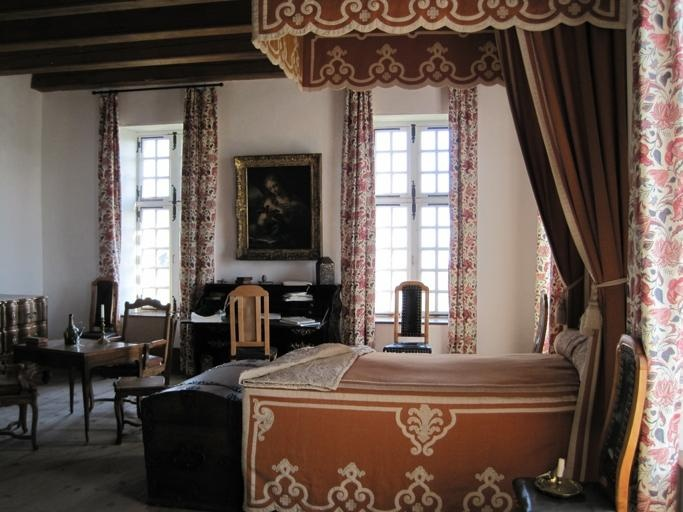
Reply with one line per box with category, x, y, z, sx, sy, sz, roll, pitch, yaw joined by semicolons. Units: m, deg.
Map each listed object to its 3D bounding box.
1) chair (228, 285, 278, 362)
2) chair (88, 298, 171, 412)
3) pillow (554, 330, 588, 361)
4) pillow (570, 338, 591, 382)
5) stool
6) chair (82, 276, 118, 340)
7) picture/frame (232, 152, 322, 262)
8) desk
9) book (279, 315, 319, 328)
chair;-0.936;0.834;6.431;0.457;1.174;0.476;-3;8;-21
chair;-2.217;1.006;6.560;0.834;1.147;0.845;5;-6;-37
pillow;1.763;0.667;4.842;0.079;0.162;0.253;21;-4;-13
pillow;1.712;0.739;4.470;0.074;0.272;0.261;6;-19;-1
stool;-1.832;1.424;5.914;0.482;0.551;0.628;2;-1;-6
chair;-2.987;0.682;7.625;0.429;0.873;0.504;2;0;-3
picture/frame;-0.750;-0.607;7.624;1.204;1.485;0.067;1;3;14
desk;-0.929;0.886;7.225;1.558;1.123;0.895;1;-3;1
book;-0.476;0.736;7.012;0.437;0.092;0.362;-1;3;-7
